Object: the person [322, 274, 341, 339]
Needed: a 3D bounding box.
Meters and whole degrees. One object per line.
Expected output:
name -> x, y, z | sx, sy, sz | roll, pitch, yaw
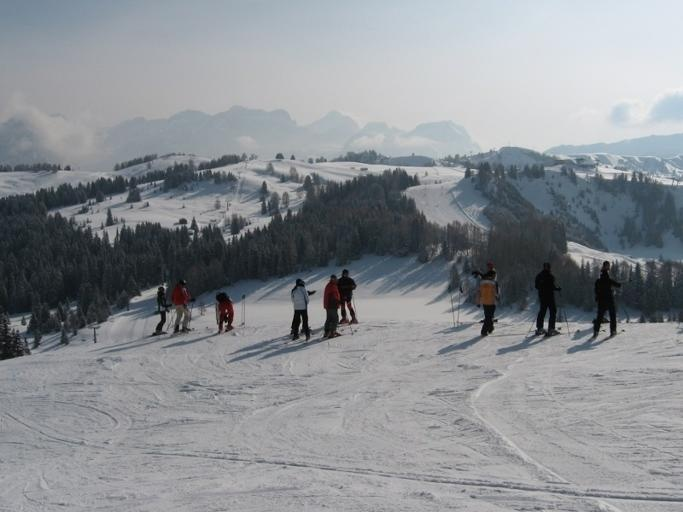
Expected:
person -> -0.460, 2.440, 38.811 | 0.831, 2.408, 1.474 | -3, 1, 0
